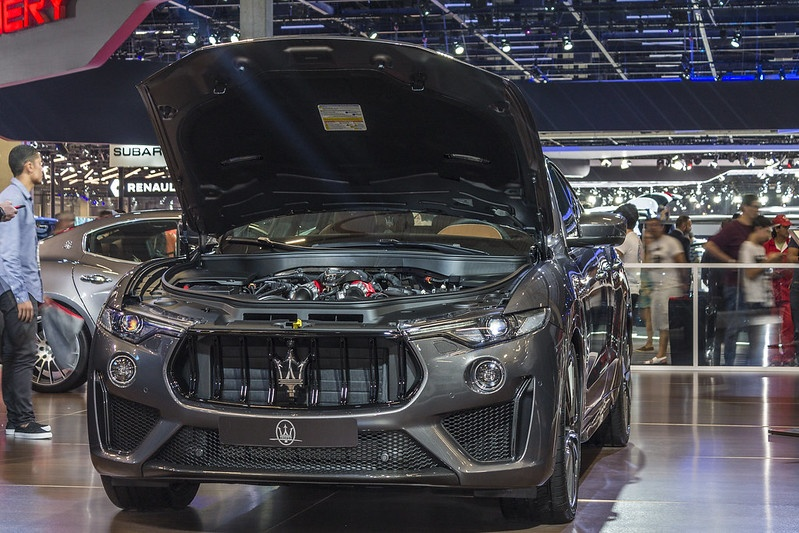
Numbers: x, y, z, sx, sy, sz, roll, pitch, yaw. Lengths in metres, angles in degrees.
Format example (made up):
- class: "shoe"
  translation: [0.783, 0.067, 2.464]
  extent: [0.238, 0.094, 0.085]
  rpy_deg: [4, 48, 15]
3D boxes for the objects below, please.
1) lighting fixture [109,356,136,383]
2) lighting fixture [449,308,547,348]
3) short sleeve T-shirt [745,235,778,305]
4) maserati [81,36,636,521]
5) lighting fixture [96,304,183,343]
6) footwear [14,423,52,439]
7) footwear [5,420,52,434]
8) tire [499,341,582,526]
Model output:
- class: "lighting fixture"
  translation: [-1.611, 0.598, 4.527]
  extent: [0.176, 0.157, 0.044]
  rpy_deg: [-7, -1, 22]
- class: "lighting fixture"
  translation: [0.575, 0.343, 4.326]
  extent: [0.592, 0.192, 0.120]
  rpy_deg: [0, 1, -24]
- class: "short sleeve T-shirt"
  translation: [5.341, 0.109, 11.529]
  extent: [0.410, 0.951, 0.293]
  rpy_deg: [1, 1, 18]
- class: "maserati"
  translation: [-0.219, 0.096, 5.210]
  extent: [3.047, 2.977, 2.146]
  rpy_deg: [1, 1, 11]
- class: "lighting fixture"
  translation: [-1.560, 0.349, 4.745]
  extent: [0.563, 0.161, 0.521]
  rpy_deg: [1, -7, 37]
- class: "footwear"
  translation: [-3.284, 1.475, 6.960]
  extent: [0.363, 0.127, 0.145]
  rpy_deg: [-1, -4, 7]
- class: "footwear"
  translation: [-3.340, 1.475, 6.983]
  extent: [0.468, 0.161, 0.163]
  rpy_deg: [-1, -3, 6]
- class: "tire"
  translation: [0.791, 0.963, 4.438]
  extent: [0.391, 0.978, 1.034]
  rpy_deg: [-1, -17, 15]
